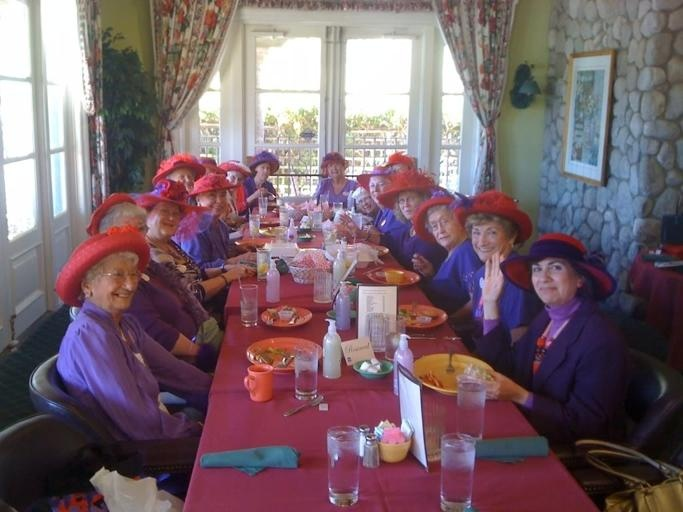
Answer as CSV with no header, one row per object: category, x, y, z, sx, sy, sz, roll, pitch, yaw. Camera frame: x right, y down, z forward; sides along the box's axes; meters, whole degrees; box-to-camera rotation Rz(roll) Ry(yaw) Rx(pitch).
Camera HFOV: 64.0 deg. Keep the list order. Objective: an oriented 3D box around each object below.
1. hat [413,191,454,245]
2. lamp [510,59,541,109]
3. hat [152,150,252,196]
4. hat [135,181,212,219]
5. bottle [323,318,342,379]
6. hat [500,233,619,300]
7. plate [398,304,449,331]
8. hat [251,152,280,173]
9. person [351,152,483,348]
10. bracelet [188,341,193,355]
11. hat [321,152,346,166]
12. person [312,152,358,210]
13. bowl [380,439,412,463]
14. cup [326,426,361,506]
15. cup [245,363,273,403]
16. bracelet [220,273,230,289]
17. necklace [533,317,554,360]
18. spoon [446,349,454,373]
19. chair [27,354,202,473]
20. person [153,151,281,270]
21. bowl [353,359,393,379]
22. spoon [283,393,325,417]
hat,0.589,-0.277,3.753,0.288,0.310,0.070,-32,50,-24
lamp,2.201,-2.089,6.578,0.466,0.560,0.322,-2,11,-11
hat,-1.276,-0.765,4.906,0.655,0.191,0.675,-7,-16,-33
hat,-1.049,-0.362,3.398,0.229,0.118,0.284,7,-2,8
bottle,-0.037,0.341,2.220,0.088,0.237,0.217,0,14,-1
hat,0.917,0.020,2.245,0.321,0.338,0.165,3,51,45
plate,0.415,0.307,2.789,0.160,0.035,0.164,0,18,-13
hat,-0.890,-1.107,6.306,0.261,0.085,0.268,-28,-14,29
person,0.490,-0.059,3.707,0.573,0.787,1.654,1,34,-8
bracelet,-0.769,0.467,2.800,0.011,0.035,0.034,-14,8,16
hat,-0.077,-1.083,6.267,0.268,0.193,0.234,-2,14,-6
person,-0.077,-0.869,6.358,0.738,0.801,0.446,3,10,9
bowl,0.161,0.595,1.670,0.066,0.037,0.069,-1,-3,0
cup,0.006,0.582,1.532,0.088,0.188,0.103,-1,14,-2
cup,-0.297,0.464,2.054,0.080,0.117,0.135,8,17,22
bracelet,-0.753,0.159,3.541,0.021,0.081,0.079,-21,-17,-2
necklace,0.855,0.348,2.325,0.048,0.145,0.100,16,6,22
spoon,0.442,0.428,2.224,0.025,0.016,0.110,1,22,9
chair,-0.840,0.690,2.038,0.415,0.506,0.394,-7,23,-16
person,-1.112,-0.360,4.425,1.026,1.193,0.795,-10,16,-26
bowl,0.127,0.445,2.171,0.154,0.054,0.105,1,14,2
spoon,-0.126,0.529,1.961,0.045,0.041,0.230,11,18,30
